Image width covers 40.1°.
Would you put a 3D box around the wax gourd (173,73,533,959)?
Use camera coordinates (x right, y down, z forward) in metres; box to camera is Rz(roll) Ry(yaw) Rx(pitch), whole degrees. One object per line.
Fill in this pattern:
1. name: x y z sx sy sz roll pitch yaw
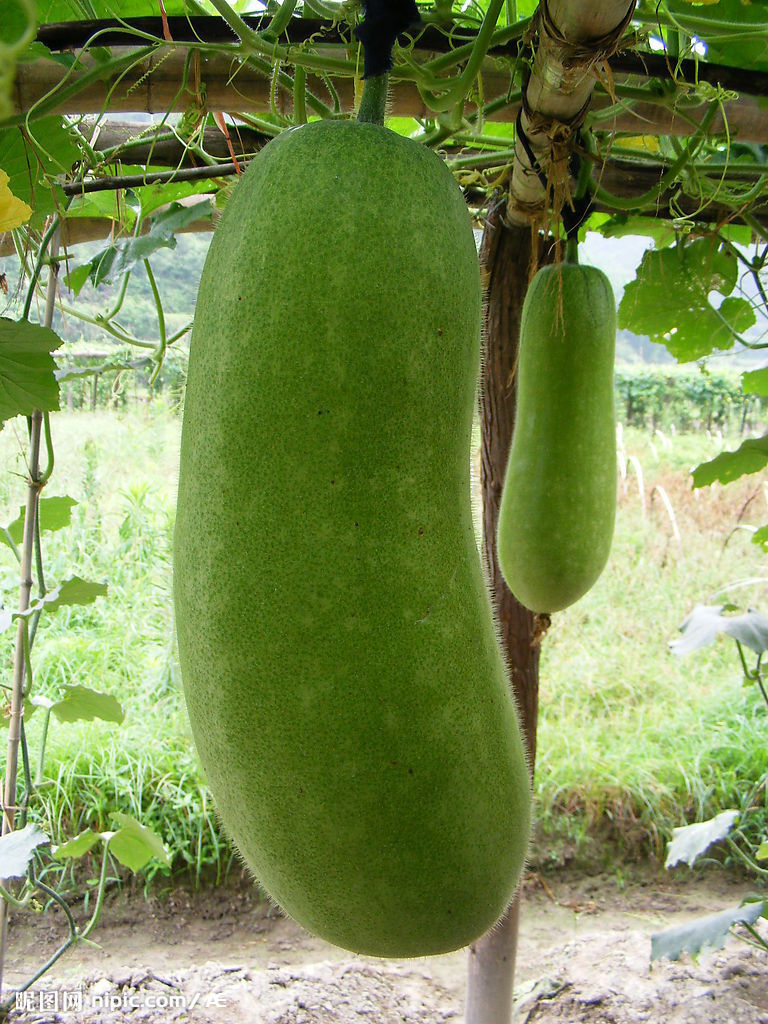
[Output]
1. wax gourd: -0.023 0.011 0.876 0.268 0.675 0.242 -1 11 -22
